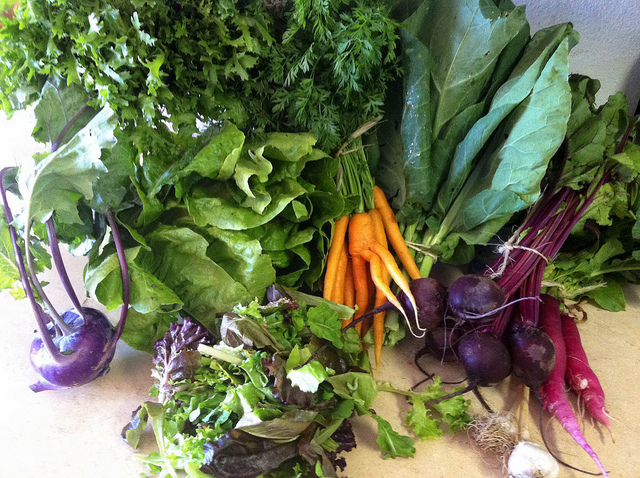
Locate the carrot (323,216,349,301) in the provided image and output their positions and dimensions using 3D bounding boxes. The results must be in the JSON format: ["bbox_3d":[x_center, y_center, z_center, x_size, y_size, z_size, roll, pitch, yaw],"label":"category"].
[{"bbox_3d":[0.040,0.050,1.527,0.037,0.282,0.035,11,-5,-4],"label":"carrot"}]

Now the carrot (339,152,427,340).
[{"bbox_3d":[0.171,0.044,1.573,0.170,0.599,0.082,-18,-15,34],"label":"carrot"}]

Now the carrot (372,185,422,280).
[{"bbox_3d":[0.215,-0.011,1.560,0.036,0.037,0.266,-13,84,-54],"label":"carrot"}]

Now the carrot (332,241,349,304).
[{"bbox_3d":[0.049,0.093,1.545,0.029,0.171,0.027,2,-10,5],"label":"carrot"}]

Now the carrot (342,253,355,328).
[{"bbox_3d":[0.084,0.138,1.570,0.025,0.219,0.028,4,-2,8],"label":"carrot"}]
